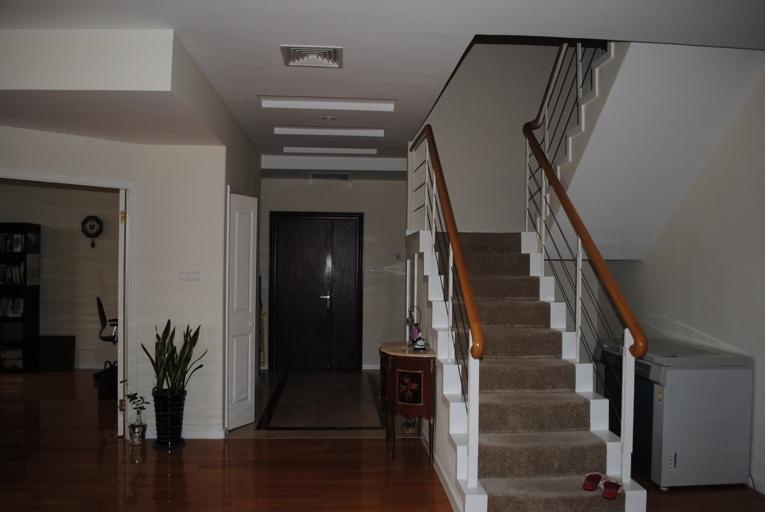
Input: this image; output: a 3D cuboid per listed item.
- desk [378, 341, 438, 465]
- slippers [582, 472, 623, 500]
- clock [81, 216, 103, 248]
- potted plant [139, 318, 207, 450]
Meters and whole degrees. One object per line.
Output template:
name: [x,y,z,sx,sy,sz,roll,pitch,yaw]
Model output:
desk: [0.273,1.493,6.271,0.385,0.885,1.130,0,-4,-1]
slippers: [1.860,1.920,5.204,0.322,0.140,0.275,3,8,19]
clock: [-4.518,-0.395,9.602,0.319,0.502,0.072,-1,7,-8]
potted plant: [-2.252,1.345,6.618,0.634,1.287,0.429,-1,7,-12]
